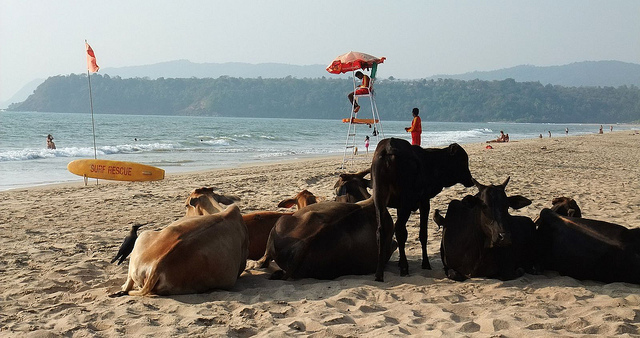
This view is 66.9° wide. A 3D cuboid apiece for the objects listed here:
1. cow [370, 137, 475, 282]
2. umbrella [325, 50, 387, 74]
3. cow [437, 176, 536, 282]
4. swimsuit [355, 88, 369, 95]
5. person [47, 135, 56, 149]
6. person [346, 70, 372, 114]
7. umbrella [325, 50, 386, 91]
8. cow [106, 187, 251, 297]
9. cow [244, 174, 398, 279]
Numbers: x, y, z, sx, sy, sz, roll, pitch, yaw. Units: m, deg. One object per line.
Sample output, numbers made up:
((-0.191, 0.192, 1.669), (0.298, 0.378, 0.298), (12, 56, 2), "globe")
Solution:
((2.499, 0.967, 12.158), (1.468, 3.205, 4.139), (-1, -3, 34), "cow")
((1.574, -4.633, 21.111), (2.520, 0.811, 2.620), (-6, -1, -22), "umbrella")
((3.921, 1.494, 11.586), (2.142, 2.197, 4.228), (2, 0, 13), "cow")
((1.856, -3.391, 21.341), (0.398, 0.179, 0.301), (-2, 0, 27), "swimsuit")
((-19.752, -2.007, 35.807), (0.387, 1.006, 1.619), (-7, 10, -29), "person")
((1.714, -3.516, 21.710), (1.006, 1.899, 0.710), (4, -11, 17), "person")
((1.417, -4.180, 20.712), (1.854, 1.505, 2.785), (-3, 8, -5), "umbrella")
((-2.889, 1.738, 10.645), (2.569, 1.780, 1.558), (-7, 10, -32), "cow")
((0.429, 1.297, 11.803), (1.917, 1.477, 2.851), (5, 12, 14), "cow")
